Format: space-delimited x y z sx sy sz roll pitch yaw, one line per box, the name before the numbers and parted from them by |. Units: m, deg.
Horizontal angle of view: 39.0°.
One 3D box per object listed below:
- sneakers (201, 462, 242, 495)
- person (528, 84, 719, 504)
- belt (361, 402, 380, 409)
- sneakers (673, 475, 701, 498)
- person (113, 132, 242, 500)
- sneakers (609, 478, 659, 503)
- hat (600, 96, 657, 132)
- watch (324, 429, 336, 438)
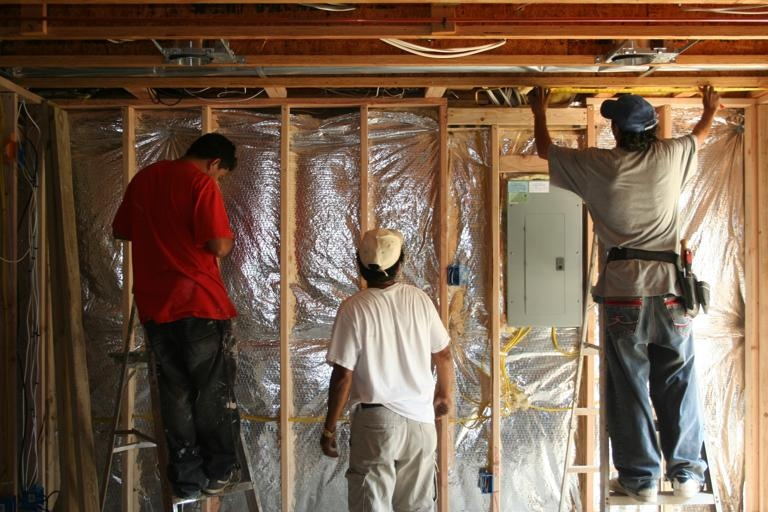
sneakers | -0.994 1.375 6.753 0.104 0.108 0.276 7 16 27
person | 1.595 0.159 6.894 0.941 2.731 0.729 -7 -14 15
belt | -0.086 0.902 6.570 0.132 0.036 0.017 -7 -14 19
sneakers | 1.907 1.449 6.817 0.198 0.127 0.096 2 -14 -23
person | -1.268 0.426 6.648 0.734 2.065 0.490 -1 -14 -12
sneakers | 1.562 1.496 6.862 0.124 0.126 0.320 3 3 -22
hat | 1.527 -0.910 6.843 0.333 0.273 0.152 -6 -13 13
watch | -0.337 1.090 6.659 0.061 0.038 0.043 6 -5 -29
